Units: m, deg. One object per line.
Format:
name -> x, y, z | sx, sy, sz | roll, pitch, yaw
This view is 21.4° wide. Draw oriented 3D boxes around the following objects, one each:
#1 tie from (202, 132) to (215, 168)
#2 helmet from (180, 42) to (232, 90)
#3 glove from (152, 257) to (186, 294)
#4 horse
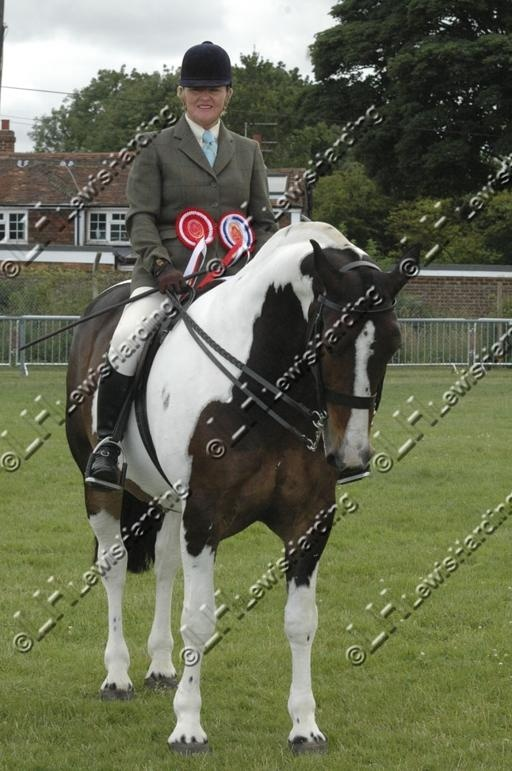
tie -> -0.261, -1.310, 7.572 | 0.064, 0.198, 0.059 | -2, -21, -10
helmet -> -0.272, -1.756, 7.463 | 0.276, 0.253, 0.177 | 0, 10, -3
glove -> -0.475, -0.584, 7.253 | 0.090, 0.120, 0.223 | -24, 29, -18
horse -> -0.148, 0.476, 7.220 | 1.023, 2.695, 2.199 | -6, 12, -30
